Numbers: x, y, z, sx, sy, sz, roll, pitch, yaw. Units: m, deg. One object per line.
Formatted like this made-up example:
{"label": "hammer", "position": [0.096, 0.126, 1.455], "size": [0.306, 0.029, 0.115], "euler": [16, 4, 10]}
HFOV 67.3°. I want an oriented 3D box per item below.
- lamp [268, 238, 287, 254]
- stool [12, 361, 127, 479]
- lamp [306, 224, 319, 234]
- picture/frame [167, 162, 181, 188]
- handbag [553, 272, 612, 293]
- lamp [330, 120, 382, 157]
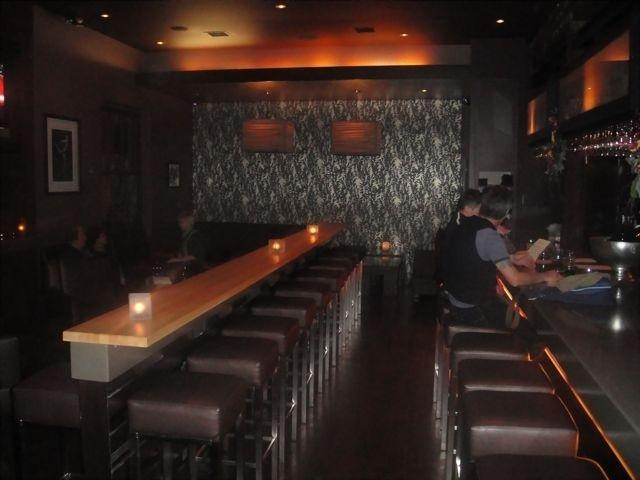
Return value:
{"label": "lamp", "position": [-0.378, 0.044, 4.177], "size": [0.121, 0.133, 0.129], "euler": [1, 9, 7]}
{"label": "stool", "position": [-1.352, 0.903, 2.499], "size": [0.330, 0.264, 0.349], "euler": [3, 0, 0]}
{"label": "lamp", "position": [-0.088, -0.129, 5.474], "size": [0.110, 0.119, 0.117], "euler": [1, 3, 10]}
{"label": "picture/frame", "position": [-2.447, -1.088, 8.061], "size": [0.051, 0.407, 0.266], "euler": [4, 9, 20]}
{"label": "handbag", "position": [1.517, 0.242, 2.814], "size": [0.164, 0.058, 0.178], "euler": [-12, 6, 13]}
{"label": "lamp", "position": [0.555, -1.566, 7.397], "size": [0.847, 0.669, 0.472], "euler": [2, 7, 9]}
